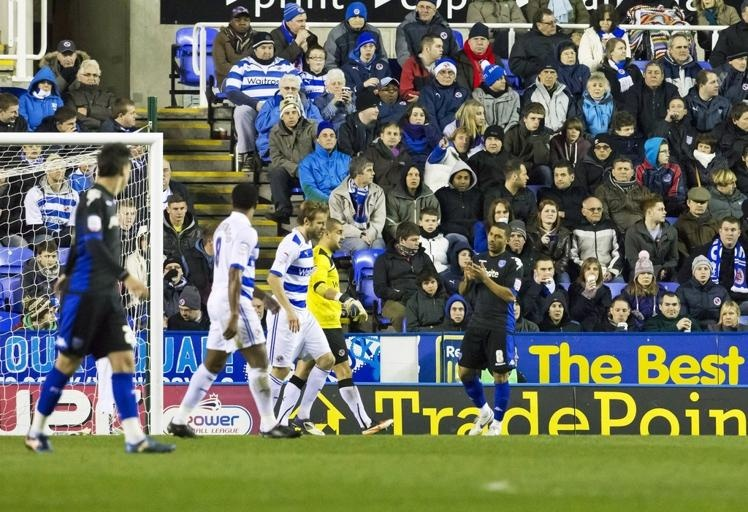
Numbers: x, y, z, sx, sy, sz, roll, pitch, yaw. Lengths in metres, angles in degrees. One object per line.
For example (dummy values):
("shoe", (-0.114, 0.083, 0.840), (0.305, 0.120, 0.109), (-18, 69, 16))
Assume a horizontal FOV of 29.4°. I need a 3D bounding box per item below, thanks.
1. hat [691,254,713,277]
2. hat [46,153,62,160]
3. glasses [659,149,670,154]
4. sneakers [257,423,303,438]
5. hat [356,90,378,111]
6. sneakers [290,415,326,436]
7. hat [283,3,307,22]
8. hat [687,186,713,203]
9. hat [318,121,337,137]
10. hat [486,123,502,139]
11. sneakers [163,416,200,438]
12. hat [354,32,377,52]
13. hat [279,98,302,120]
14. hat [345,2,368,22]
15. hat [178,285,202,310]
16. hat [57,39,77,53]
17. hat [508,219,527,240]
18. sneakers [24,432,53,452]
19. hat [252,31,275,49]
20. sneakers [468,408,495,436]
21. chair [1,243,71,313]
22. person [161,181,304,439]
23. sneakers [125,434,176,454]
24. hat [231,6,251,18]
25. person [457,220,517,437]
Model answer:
("hat", (4.961, 0.138, 21.669), (0.193, 0.256, 0.274), (2, 9, 4))
("hat", (-4.953, -1.506, 22.079), (0.194, 0.121, 0.284), (-2, 5, -4))
("glasses", (4.763, -1.700, 23.509), (0.098, 0.087, 0.275), (3, 7, 30))
("sneakers", (-1.159, 2.209, 17.915), (0.483, 0.237, 0.191), (-3, 8, -5))
("hat", (-0.138, -2.547, 23.837), (0.334, 0.293, 0.274), (-20, 5, -4))
("sneakers", (-0.911, 2.333, 19.447), (0.360, 0.165, 0.141), (27, 17, -4))
("hat", (-1.402, -4.266, 25.393), (0.355, 0.346, 0.293), (9, 26, 28))
("hat", (5.152, -0.954, 22.786), (0.342, 0.228, 0.244), (1, 6, 8))
("hat", (-0.797, -2.056, 23.191), (0.212, 0.265, 0.319), (2, -17, -6))
("hat", (1.947, -1.980, 23.232), (0.337, 0.236, 0.230), (-1, 6, -11))
("sneakers", (-2.409, 2.194, 17.967), (0.424, 0.189, 0.165), (20, 39, -27))
("hat", (-0.158, -3.732, 25.147), (0.315, 0.221, 0.244), (-9, -4, 40))
("hat", (-1.347, -2.370, 23.179), (0.250, 0.261, 0.312), (1, -14, -10))
("hat", (-0.295, -4.347, 25.345), (0.351, 0.417, 0.494), (3, -11, -13))
("hat", (-2.665, 0.616, 20.796), (0.239, 0.303, 0.338), (8, -14, 7))
("hat", (-5.454, -3.611, 25.307), (0.303, 0.199, 0.455), (-2, 28, -16))
("hat", (2.177, -0.389, 21.669), (0.202, 0.294, 0.302), (-1, -22, 8))
("sneakers", (-3.917, 2.196, 16.697), (0.296, 0.235, 0.165), (4, 11, 2))
("hat", (-1.865, -3.649, 24.380), (0.286, 0.235, 0.367), (3, 6, 30))
("sneakers", (1.480, 2.301, 19.681), (0.213, 0.534, 0.197), (5, 40, -32))
("chair", (-4.842, 0.287, 20.655), (0.881, 1.425, 0.469), (4, 0, -17))
("person", (-1.753, 0.723, 17.814), (1.327, 3.168, 0.504), (-1, 5, -7))
("sneakers", (-2.614, 2.195, 16.738), (0.601, 0.269, 0.229), (-1, -1, -8))
("hat", (-2.417, -4.335, 25.545), (0.266, 0.231, 0.401), (-1, 3, -14))
("person", (1.581, 1.020, 19.664), (0.829, 2.872, 0.726), (0, 5, 5))
